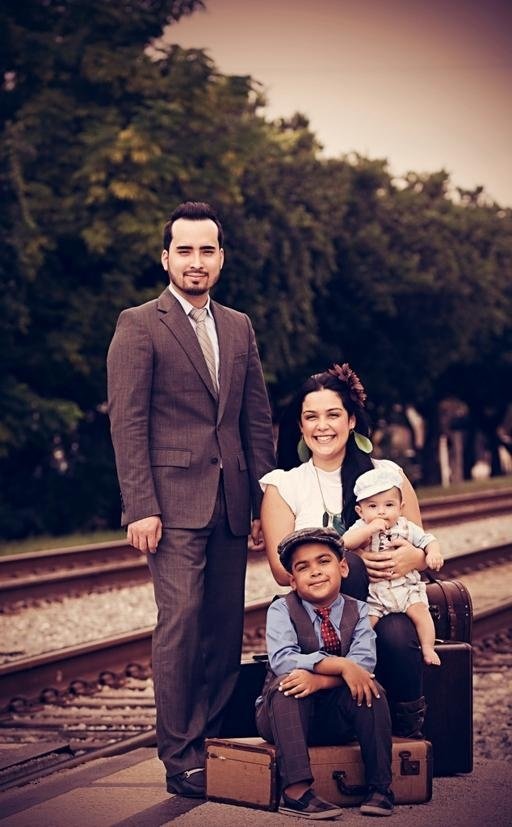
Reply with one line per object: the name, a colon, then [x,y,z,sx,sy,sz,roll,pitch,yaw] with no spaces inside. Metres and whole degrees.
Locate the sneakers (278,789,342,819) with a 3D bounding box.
sneakers: [0.175,1.296,3.097,0.196,0.070,0.082,-4,-7,30]

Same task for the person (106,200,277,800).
person: [-0.281,0.430,3.801,0.539,1.825,0.840,-3,-1,15]

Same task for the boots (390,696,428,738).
boots: [0.564,1.137,3.503,0.167,0.167,0.159,0,-10,9]

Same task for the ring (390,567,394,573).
ring: [0.536,0.630,3.704,0.008,0.019,0.017,1,-6,-3]

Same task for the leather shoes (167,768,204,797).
leather shoes: [-0.255,1.364,3.410,0.105,0.086,0.174,-1,-2,-28]

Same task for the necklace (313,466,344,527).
necklace: [0.299,0.361,3.905,0.118,0.234,0.171,-3,-1,2]

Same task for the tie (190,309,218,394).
tie: [-0.219,-0.292,3.908,0.080,0.446,0.056,1,-29,-29]

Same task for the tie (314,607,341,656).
tie: [0.260,0.802,3.405,0.071,0.166,0.043,-6,-32,-10]
